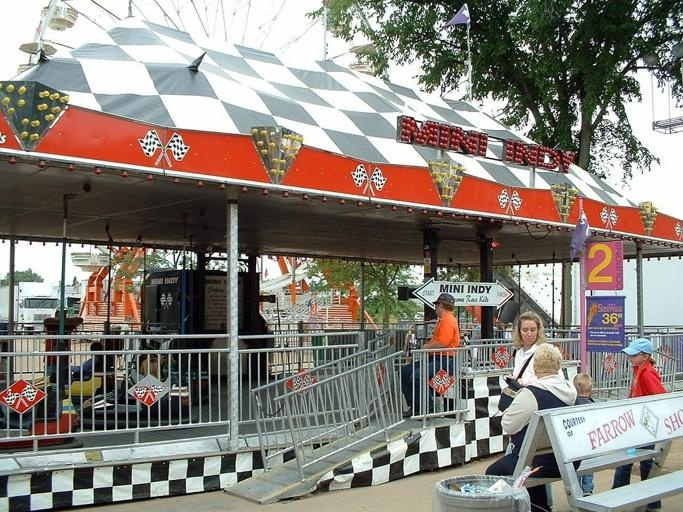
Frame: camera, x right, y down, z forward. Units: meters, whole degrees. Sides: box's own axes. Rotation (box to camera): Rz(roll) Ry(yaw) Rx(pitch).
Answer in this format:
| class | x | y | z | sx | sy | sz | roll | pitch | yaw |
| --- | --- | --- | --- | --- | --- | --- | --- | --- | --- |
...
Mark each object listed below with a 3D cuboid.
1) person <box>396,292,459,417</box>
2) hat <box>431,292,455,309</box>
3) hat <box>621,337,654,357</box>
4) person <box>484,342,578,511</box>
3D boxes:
| class | x | y | z | sx | sy | sz | roll | pitch | yaw |
| --- | --- | --- | --- | --- | --- | --- | --- | --- | --- |
| person | 1.314 | 1.479 | 10.836 | 0.841 | 1.859 | 0.948 | 4 | -8 | -43 |
| hat | 1.520 | 0.662 | 10.770 | 0.264 | 0.144 | 0.209 | 9 | 2 | 30 |
| hat | 3.673 | 1.139 | 8.920 | 0.350 | 0.189 | 0.246 | 3 | -8 | -5 |
| person | 2.017 | 1.843 | 7.574 | 0.953 | 1.810 | 0.800 | -3 | -6 | 10 |
